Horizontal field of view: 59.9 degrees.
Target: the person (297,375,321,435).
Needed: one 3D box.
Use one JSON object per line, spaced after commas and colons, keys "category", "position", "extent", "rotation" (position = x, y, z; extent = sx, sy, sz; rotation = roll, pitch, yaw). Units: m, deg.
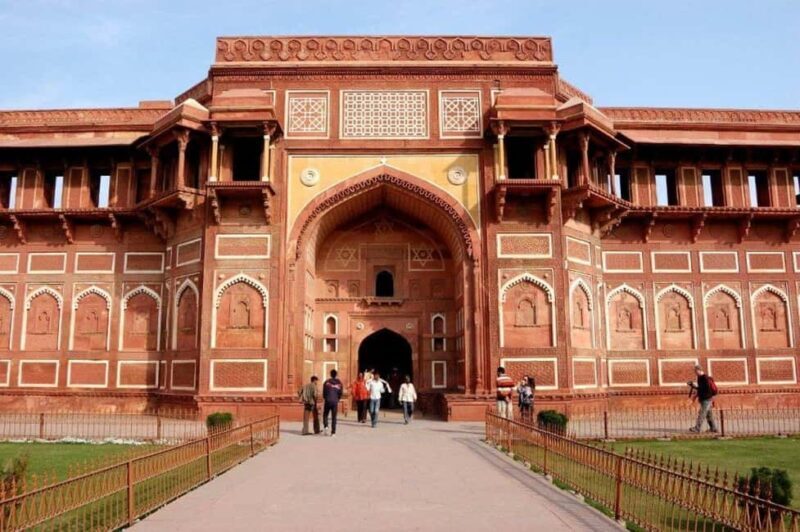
{"category": "person", "position": [-2.223, 3.358, 16.869], "extent": [0.498, 1.496, 1.297], "rotation": [0, -2, -8]}
